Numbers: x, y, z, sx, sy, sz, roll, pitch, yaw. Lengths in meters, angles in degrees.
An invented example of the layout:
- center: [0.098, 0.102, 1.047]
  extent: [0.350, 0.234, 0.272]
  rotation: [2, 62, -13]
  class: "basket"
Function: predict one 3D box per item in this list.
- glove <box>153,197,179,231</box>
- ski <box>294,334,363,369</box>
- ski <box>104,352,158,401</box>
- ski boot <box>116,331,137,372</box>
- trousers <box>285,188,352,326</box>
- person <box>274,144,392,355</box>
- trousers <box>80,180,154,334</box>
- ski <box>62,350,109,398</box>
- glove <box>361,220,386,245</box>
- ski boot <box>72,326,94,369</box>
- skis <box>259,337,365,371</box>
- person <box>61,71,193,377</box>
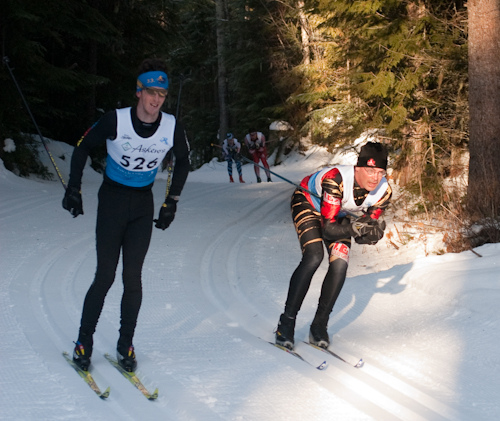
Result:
- center: [-0.755, 0.035, 4.429]
  extent: [0.119, 0.309, 0.191]
  rotation: [19, 1, 29]
  class: "glove"
- center: [0.750, 1.381, 4.770]
  extent: [0.430, 0.052, 0.059]
  rotation: [25, 46, 25]
  class: "ski"
- center: [-1.020, 1.413, 4.138]
  extent: [0.089, 0.110, 0.745]
  rotation: [-6, 18, -29]
  class: "ski"
- center: [-1.073, 1.216, 4.237]
  extent: [0.127, 0.260, 0.376]
  rotation: [1, 11, -12]
  class: "ski boot"
- center: [0.739, 0.333, 4.887]
  extent: [0.584, 0.437, 1.482]
  rotation: [8, 39, 3]
  class: "trousers"
- center: [0.816, 0.366, 4.842]
  extent: [0.981, 2.089, 0.698]
  rotation: [6, 12, 14]
  class: "person"
- center: [-1.161, 0.402, 4.271]
  extent: [0.607, 1.310, 0.378]
  rotation: [0, 12, -13]
  class: "trousers"
- center: [-1.386, 1.384, 4.107]
  extent: [0.076, 0.087, 0.726]
  rotation: [-8, 20, -32]
  class: "ski"
- center: [1.135, 0.208, 4.509]
  extent: [0.174, 0.252, 0.249]
  rotation: [4, 12, 2]
  class: "glove"
- center: [-1.506, 1.180, 4.363]
  extent: [0.156, 0.331, 0.465]
  rotation: [11, -3, -30]
  class: "ski boot"
- center: [0.561, 1.392, 4.682]
  extent: [0.273, 0.124, 0.810]
  rotation: [-20, 20, -36]
  class: "skis"
- center: [-1.037, 0.112, 4.215]
  extent: [1.062, 2.565, 0.574]
  rotation: [-2, 12, -22]
  class: "person"
